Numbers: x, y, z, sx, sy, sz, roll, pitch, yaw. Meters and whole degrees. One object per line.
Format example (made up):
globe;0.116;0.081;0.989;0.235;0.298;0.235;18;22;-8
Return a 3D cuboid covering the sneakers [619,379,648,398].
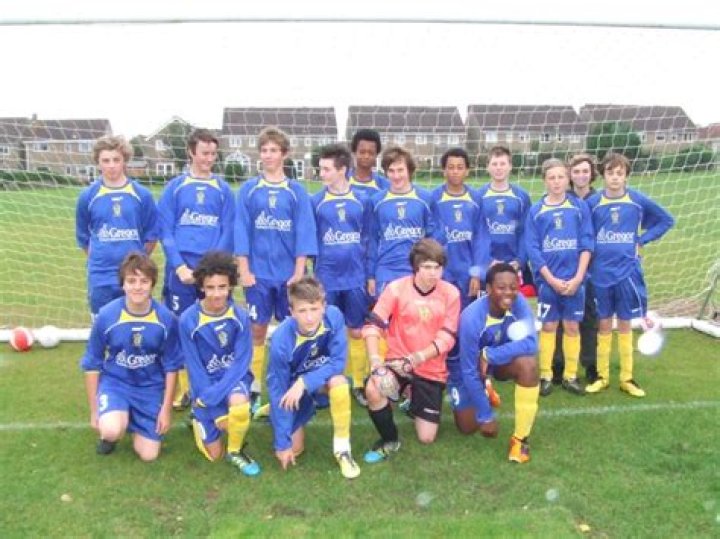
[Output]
sneakers;2.664;1.147;6.724;0.117;0.096;0.211;-9;9;-21

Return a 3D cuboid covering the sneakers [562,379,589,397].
sneakers;2.118;1.153;6.821;0.086;0.113;0.249;-5;6;-27

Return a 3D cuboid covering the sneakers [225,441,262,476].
sneakers;-0.932;1.531;5.608;0.347;0.151;0.121;9;16;41

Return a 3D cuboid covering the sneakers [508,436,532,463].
sneakers;1.310;1.455;5.690;0.176;0.160;0.255;3;13;13

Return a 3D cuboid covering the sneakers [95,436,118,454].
sneakers;-2.119;1.461;5.725;0.092;0.082;0.192;30;13;-16

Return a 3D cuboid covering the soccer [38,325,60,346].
soccer;-3.529;0.758;7.817;0.233;0.204;0.221;-6;14;-25

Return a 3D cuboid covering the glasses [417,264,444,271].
glasses;0.588;-0.023;5.830;0.190;0.066;0.053;1;13;2

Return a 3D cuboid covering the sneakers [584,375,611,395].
sneakers;2.348;1.153;6.902;0.332;0.150;0.114;3;-6;-39

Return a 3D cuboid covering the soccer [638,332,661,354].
soccer;3.276;0.870;7.830;0.257;0.143;0.262;-20;33;38

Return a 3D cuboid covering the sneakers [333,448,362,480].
sneakers;-0.099;1.543;5.502;0.129;0.094;0.222;-5;17;-21

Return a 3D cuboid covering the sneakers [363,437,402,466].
sneakers;0.176;1.485;5.709;0.319;0.127;0.122;-12;11;-33

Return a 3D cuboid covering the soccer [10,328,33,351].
soccer;-3.760;0.774;7.659;0.229;0.238;0.208;-8;15;-31

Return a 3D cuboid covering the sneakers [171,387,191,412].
sneakers;-1.708;1.246;6.550;0.085;0.106;0.246;-1;-8;9

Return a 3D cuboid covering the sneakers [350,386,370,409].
sneakers;-0.023;1.217;6.698;0.087;0.110;0.237;-7;12;-32

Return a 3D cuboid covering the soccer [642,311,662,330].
soccer;3.127;0.551;7.425;0.192;0.078;0.255;21;35;-21
